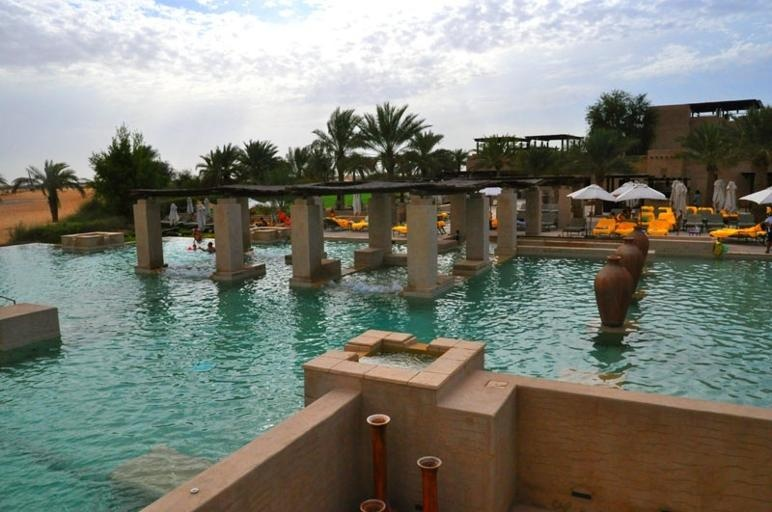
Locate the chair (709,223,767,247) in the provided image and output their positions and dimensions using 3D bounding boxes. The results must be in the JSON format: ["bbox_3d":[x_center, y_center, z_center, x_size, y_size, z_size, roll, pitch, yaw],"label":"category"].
[{"bbox_3d":[15.750,-1.077,21.635,1.952,1.011,2.297,7,15,34],"label":"chair"}]

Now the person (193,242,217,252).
[{"bbox_3d":[-8.767,-0.410,23.455,0.960,0.372,0.651,0,8,8],"label":"person"}]

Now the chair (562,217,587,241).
[{"bbox_3d":[9.692,-1.397,25.171,1.273,1.345,2.251,2,6,29],"label":"chair"}]

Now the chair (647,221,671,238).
[{"bbox_3d":[12.496,-1.231,22.160,0.820,0.480,1.485,12,27,40],"label":"chair"}]

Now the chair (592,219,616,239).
[{"bbox_3d":[10.876,-1.372,24.036,0.854,0.765,1.391,2,10,32],"label":"chair"}]

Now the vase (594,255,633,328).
[{"bbox_3d":[5.365,0.865,11.460,0.699,1.712,0.665,9,18,39],"label":"vase"}]
